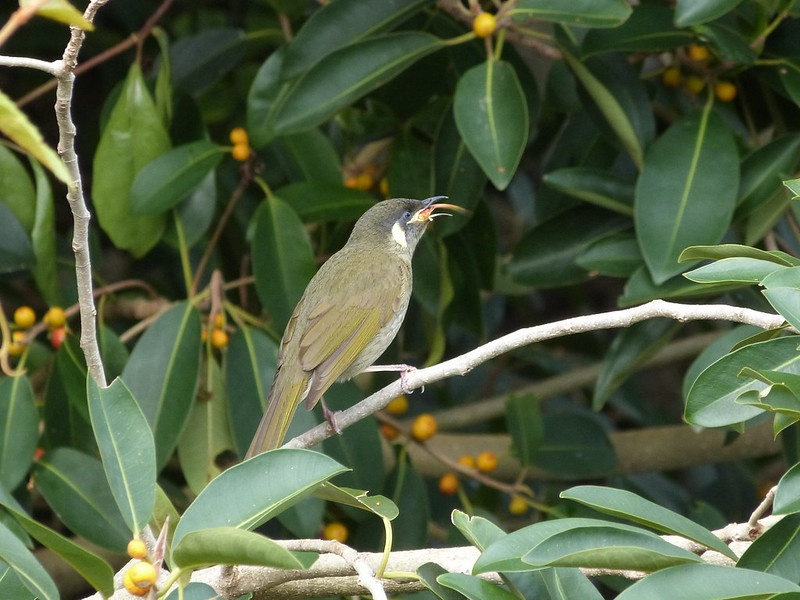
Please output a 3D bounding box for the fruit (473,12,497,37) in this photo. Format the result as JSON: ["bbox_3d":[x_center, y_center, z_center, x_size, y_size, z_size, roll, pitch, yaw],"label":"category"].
[{"bbox_3d":[0.354,-1.140,4.662,0.104,0.100,0.161,-12,16,7],"label":"fruit"}]

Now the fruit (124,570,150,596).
[{"bbox_3d":[-0.891,0.953,3.745,0.030,0.089,0.089,-42,-7,-28],"label":"fruit"}]

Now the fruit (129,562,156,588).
[{"bbox_3d":[-0.862,0.910,3.761,0.084,0.082,0.084,-7,-15,-23],"label":"fruit"}]

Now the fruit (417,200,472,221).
[{"bbox_3d":[0.206,-0.447,5.629,0.314,0.100,0.129,-10,6,-29],"label":"fruit"}]
